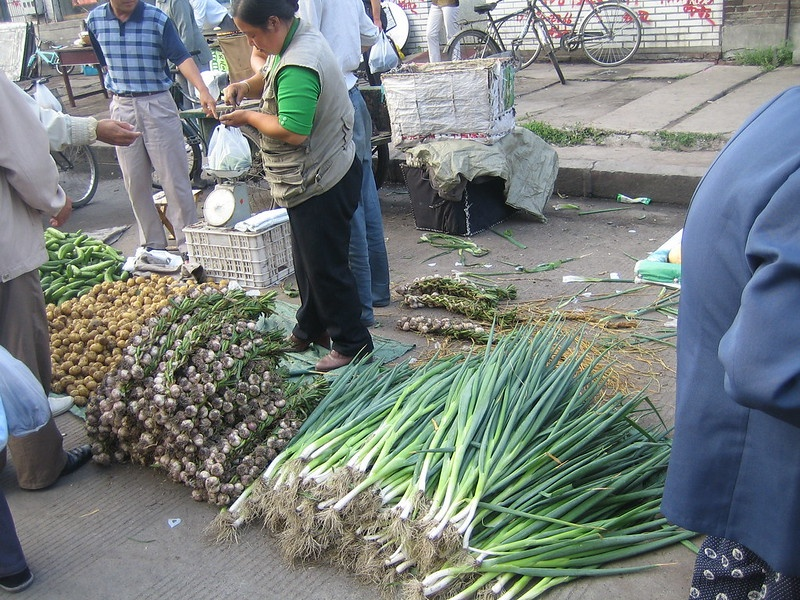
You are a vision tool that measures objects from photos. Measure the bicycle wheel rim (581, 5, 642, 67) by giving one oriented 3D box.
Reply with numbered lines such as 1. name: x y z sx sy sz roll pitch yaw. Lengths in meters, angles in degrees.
1. bicycle wheel rim: 3.933 -5.031 11.543 1.151 1.135 0.728 4 23 18

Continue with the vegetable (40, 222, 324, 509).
1. vegetable: -1.374 0.256 3.457 1.630 0.691 1.254 10 20 30

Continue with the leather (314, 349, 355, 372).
1. leather: -0.423 0.389 3.949 0.324 0.115 0.112 -2 6 -3
